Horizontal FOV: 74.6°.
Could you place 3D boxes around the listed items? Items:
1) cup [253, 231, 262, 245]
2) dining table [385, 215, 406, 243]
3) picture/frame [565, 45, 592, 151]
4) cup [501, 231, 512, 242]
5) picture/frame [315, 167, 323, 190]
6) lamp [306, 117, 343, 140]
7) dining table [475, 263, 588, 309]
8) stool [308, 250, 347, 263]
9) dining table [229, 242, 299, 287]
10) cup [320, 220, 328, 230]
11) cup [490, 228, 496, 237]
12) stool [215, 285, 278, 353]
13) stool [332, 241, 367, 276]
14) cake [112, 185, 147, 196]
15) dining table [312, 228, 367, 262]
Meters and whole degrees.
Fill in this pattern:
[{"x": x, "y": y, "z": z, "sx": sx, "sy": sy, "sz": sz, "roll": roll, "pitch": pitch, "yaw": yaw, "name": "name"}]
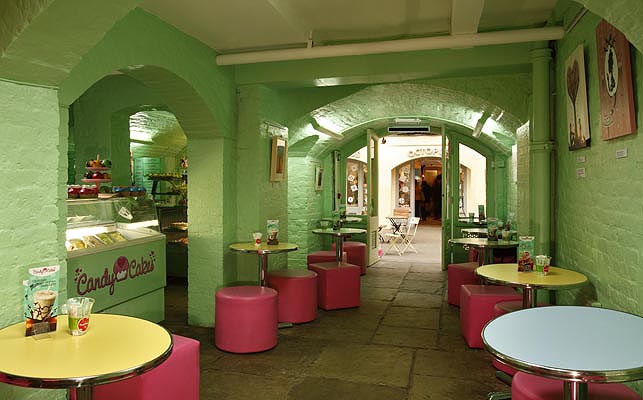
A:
[{"x": -0.966, "y": 0.571, "z": 6.423, "sx": 0.200, "sy": 0.166, "sz": 0.170, "roll": 0, "pitch": 1, "yaw": -8, "name": "cup"}, {"x": 2.735, "y": 1.069, "z": 15.450, "sx": 0.946, "sy": 0.749, "sz": 0.788, "roll": 2, "pitch": 12, "yaw": 13, "name": "dining table"}, {"x": 3.098, "y": -1.203, "z": 5.124, "sx": 0.179, "sy": 1.188, "sz": 0.713, "roll": 2, "pitch": 5, "yaw": 20, "name": "picture/frame"}, {"x": 2.982, "y": 0.592, "z": 6.850, "sx": 0.197, "sy": 0.177, "sz": 0.179, "roll": -1, "pitch": 0, "yaw": -13, "name": "cup"}, {"x": -0.063, "y": -0.566, "z": 11.161, "sx": 0.110, "sy": 0.706, "sz": 0.685, "roll": 0, "pitch": 1, "yaw": 19, "name": "picture/frame"}, {"x": 0.073, "y": -1.516, "z": 9.391, "sx": 0.208, "sy": 0.197, "sz": 1.444, "roll": 43, "pitch": 13, "yaw": 30, "name": "lamp"}, {"x": 2.345, "y": 0.861, "z": 4.776, "sx": 0.791, "sy": 0.434, "sz": 0.716, "roll": 0, "pitch": 2, "yaw": -2, "name": "dining table"}, {"x": 0.028, "y": 1.176, "z": 8.950, "sx": 0.472, "sy": 0.290, "sz": 0.438, "roll": 1, "pitch": 2, "yaw": 15, "name": "stool"}, {"x": -0.811, "y": 0.919, "z": 6.248, "sx": 0.825, "sy": 0.505, "sz": 0.775, "roll": 2, "pitch": 6, "yaw": 20, "name": "dining table"}, {"x": 0.053, "y": 0.507, "z": 8.701, "sx": 0.268, "sy": 0.175, "sz": 0.238, "roll": -1, "pitch": 0, "yaw": -5, "name": "cup"}, {"x": 2.918, "y": 0.551, "z": 7.205, "sx": 0.150, "sy": 0.126, "sz": 0.143, "roll": 0, "pitch": 1, "yaw": 0, "name": "cup"}, {"x": -0.995, "y": 1.582, "z": 5.804, "sx": 0.880, "sy": 0.627, "sz": 0.808, "roll": 1, "pitch": -1, "yaw": -13, "name": "stool"}, {"x": 0.719, "y": 1.325, "z": 9.983, "sx": 0.831, "sy": 0.669, "sz": 0.766, "roll": 2, "pitch": 5, "yaw": 12, "name": "stool"}, {"x": -2.990, "y": -0.125, "z": 6.524, "sx": 0.331, "sy": 0.135, "sz": 0.583, "roll": 0, "pitch": 5, "yaw": 5, "name": "cake"}, {"x": 0.420, "y": 0.747, "z": 8.666, "sx": 0.927, "sy": 0.853, "sz": 0.887, "roll": -2, "pitch": 6, "yaw": -36, "name": "dining table"}]
